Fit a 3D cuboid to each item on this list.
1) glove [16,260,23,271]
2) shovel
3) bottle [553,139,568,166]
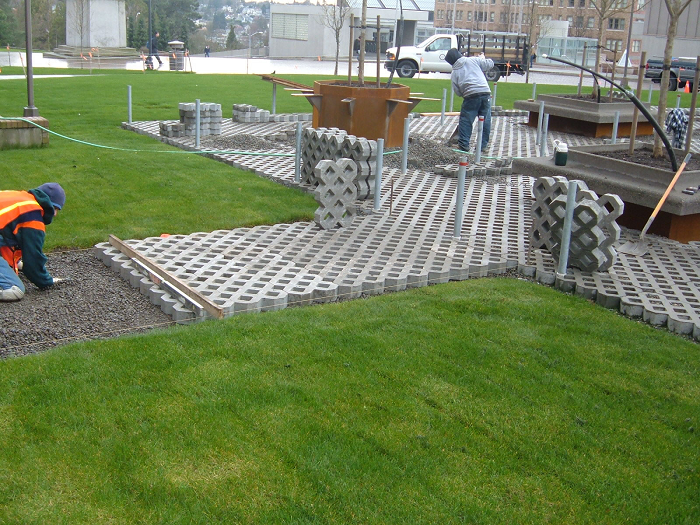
[{"bbox_3d":[-4.293,0.044,7.516,0.100,0.109,0.025,27,5,40],"label":"glove"},{"bbox_3d":[4.864,-0.887,9.323,0.667,1.379,1.892,13,21,28],"label":"shovel"},{"bbox_3d":[4.306,-2.198,11.804,0.279,0.372,0.696,9,20,19],"label":"bottle"}]
